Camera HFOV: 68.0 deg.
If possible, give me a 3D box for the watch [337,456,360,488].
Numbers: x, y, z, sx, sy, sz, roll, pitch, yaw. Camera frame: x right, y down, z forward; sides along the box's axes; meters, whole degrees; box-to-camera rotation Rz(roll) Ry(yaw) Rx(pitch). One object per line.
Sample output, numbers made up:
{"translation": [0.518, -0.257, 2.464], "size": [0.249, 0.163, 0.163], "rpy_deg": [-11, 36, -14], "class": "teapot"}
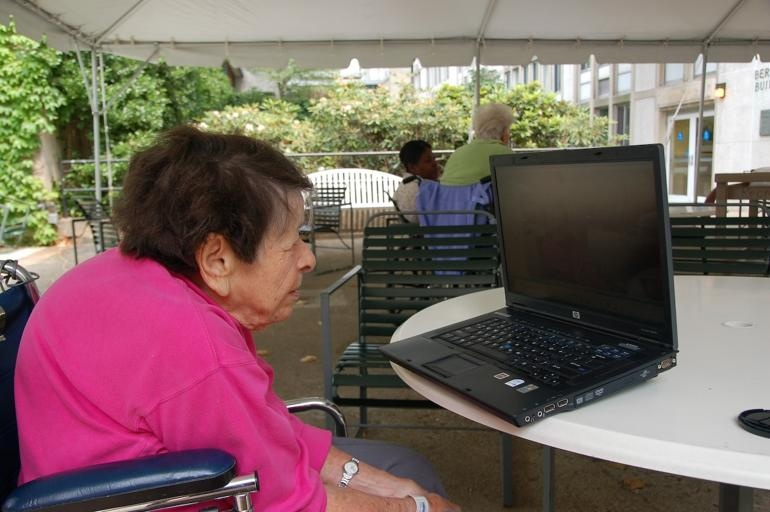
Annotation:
{"translation": [-0.087, 0.506, 1.349], "size": [0.029, 0.035, 0.064], "rpy_deg": [22, 57, 7], "class": "watch"}
